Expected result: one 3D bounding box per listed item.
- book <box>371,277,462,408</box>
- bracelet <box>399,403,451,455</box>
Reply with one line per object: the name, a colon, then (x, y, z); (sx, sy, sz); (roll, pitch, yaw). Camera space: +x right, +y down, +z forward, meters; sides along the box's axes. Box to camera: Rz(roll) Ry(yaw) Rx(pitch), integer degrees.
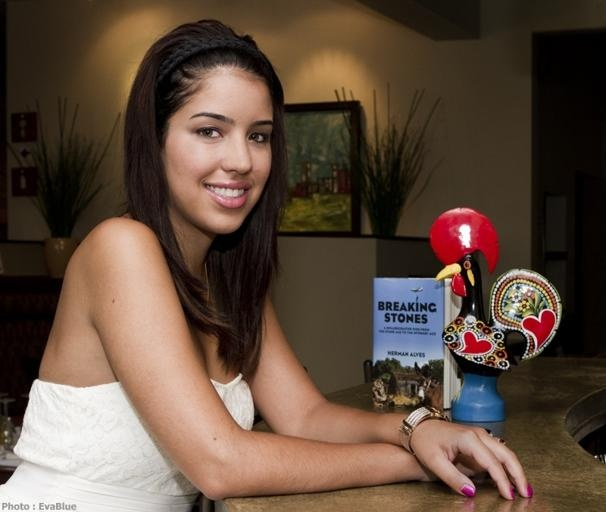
book: (0.255, 0.196, 1.408); (0.215, 0.303, 0.264); (0, 4, -16)
bracelet: (0.216, 0.317, 0.980); (0.096, 0.109, 0.063); (-1, 1, -4)
